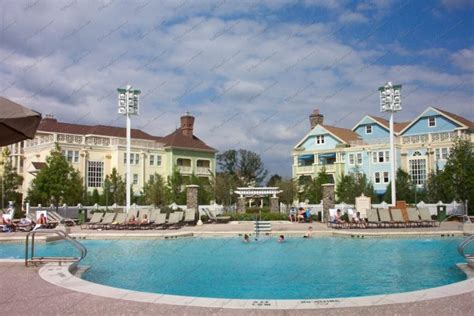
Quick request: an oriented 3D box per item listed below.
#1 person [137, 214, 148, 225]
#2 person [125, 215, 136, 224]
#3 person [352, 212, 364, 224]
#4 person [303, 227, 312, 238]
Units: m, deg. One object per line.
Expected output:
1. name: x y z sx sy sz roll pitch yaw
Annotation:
1. person: -7.254 4.761 43.691 0.793 0.816 0.541 -2 -7 8
2. person: -8.261 4.818 43.980 0.808 0.709 1.493 0 -7 -11
3. person: 8.945 4.546 42.855 0.846 0.813 1.077 -1 -4 -4
4. person: 4.841 5.207 39.636 0.587 0.757 1.039 -3 -7 13
